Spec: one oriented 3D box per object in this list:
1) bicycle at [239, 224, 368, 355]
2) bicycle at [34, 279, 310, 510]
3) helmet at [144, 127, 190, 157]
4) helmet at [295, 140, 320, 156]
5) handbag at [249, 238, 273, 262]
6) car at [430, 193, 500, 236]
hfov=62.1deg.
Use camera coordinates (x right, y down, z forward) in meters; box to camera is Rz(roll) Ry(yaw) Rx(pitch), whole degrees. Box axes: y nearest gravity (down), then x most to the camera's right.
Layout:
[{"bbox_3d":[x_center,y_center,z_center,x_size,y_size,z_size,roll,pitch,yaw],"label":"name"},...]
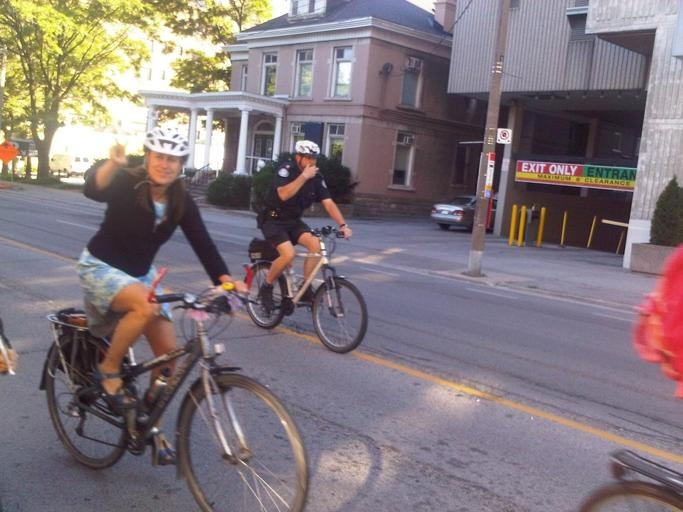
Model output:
[{"bbox_3d":[-0.501,0.322,7.102,2.058,1.411,0.891,9,5,38],"label":"bicycle"},{"bbox_3d":[-1.099,0.839,3.454,2.244,1.382,0.513,14,15,38],"label":"bicycle"},{"bbox_3d":[-1.103,-0.740,3.566,0.180,0.104,0.263,7,19,-30],"label":"helmet"},{"bbox_3d":[-0.451,-1.311,6.924,0.239,0.150,0.341,-1,8,-38],"label":"helmet"},{"bbox_3d":[-1.050,-0.078,7.457,0.241,0.153,0.319,3,-1,-33],"label":"handbag"},{"bbox_3d":[5.967,-1.989,27.141,1.579,1.386,3.777,6,11,39],"label":"car"}]
